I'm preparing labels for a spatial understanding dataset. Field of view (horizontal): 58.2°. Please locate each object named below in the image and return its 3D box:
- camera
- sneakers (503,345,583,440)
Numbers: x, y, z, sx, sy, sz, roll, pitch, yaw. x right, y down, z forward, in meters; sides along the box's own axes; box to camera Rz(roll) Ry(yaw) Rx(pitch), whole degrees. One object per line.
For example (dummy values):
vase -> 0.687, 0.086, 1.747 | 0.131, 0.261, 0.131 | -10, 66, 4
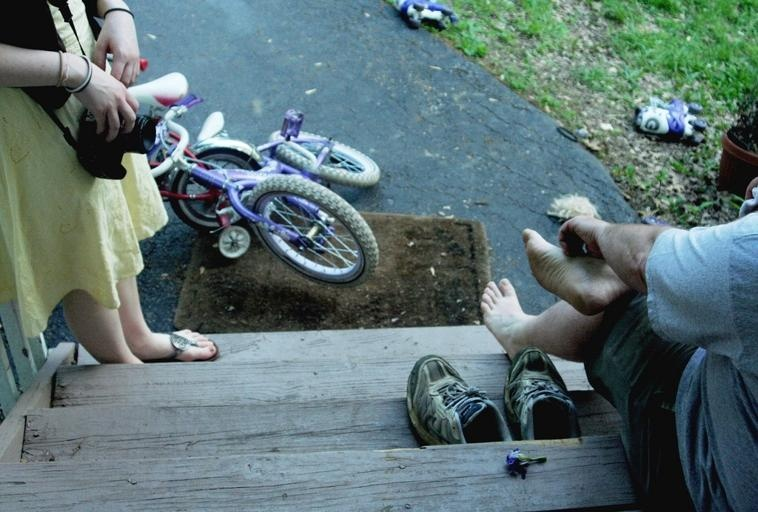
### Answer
camera -> -1.024, -0.413, 2.660 | 0.286, 0.259, 0.225 | 0, 53, -21
sneakers -> 0.682, 0.577, 2.857 | 0.246, 0.210, 0.670 | 4, 44, -1
